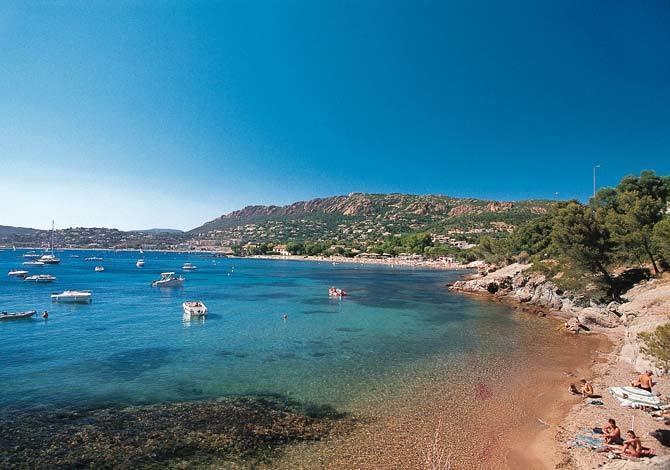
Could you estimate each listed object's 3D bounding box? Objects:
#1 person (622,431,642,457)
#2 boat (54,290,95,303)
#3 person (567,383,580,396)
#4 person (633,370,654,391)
[{"bbox_3d":[19.319,13.632,27.749,0.995,1.543,1.126,-10,16,-39],"label":"person"},{"bbox_3d":[-40.577,9.854,67.162,5.089,1.568,2.861,0,12,2],"label":"boat"},{"bbox_3d":[19.559,12.549,34.725,0.803,0.592,0.917,5,13,23],"label":"person"},{"bbox_3d":[23.359,11.155,32.300,1.106,1.443,2.279,11,16,43],"label":"person"}]
